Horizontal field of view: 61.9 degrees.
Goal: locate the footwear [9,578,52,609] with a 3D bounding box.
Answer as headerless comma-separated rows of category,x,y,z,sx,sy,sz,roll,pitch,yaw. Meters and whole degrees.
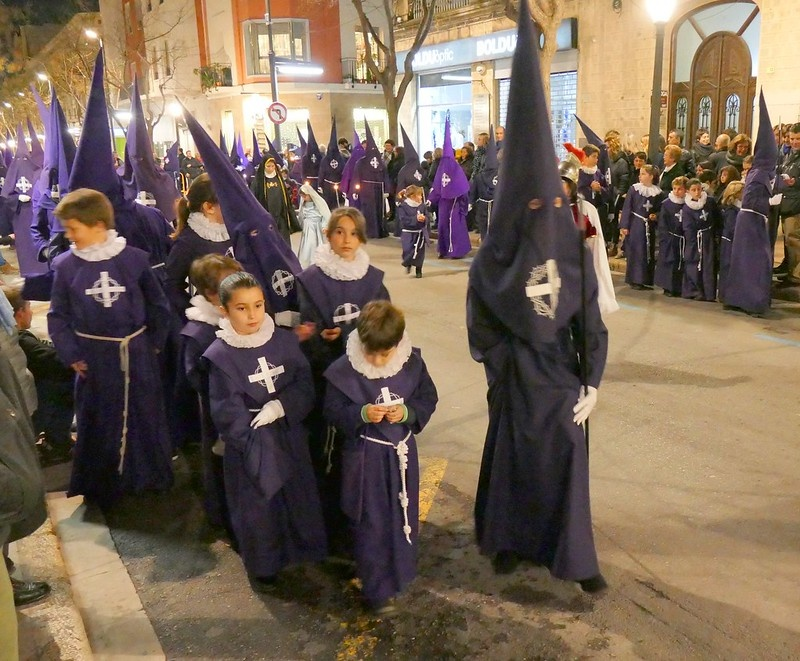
footwear,-2.090,1.453,3.800,0.181,0.090,0.242,-9,12,-34

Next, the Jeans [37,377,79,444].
Jeans,-2.845,0.676,5.579,0.495,0.517,0.130,-3,-3,-45

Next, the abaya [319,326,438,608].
abaya,-0.095,0.750,3.787,0.627,1.500,0.473,-4,10,-8

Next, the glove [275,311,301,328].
glove,-0.821,-0.086,4.837,0.143,0.096,0.145,-5,12,-24

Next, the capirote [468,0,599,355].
capirote,0.654,-0.768,3.434,0.613,1.689,0.365,-1,10,6

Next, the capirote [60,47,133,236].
capirote,-2.460,-1.614,5.454,0.412,1.247,0.446,-11,-15,13

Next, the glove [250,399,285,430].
glove,-0.752,0.493,3.833,0.109,0.195,0.064,40,-1,-28

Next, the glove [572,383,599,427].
glove,1.032,0.431,3.726,0.097,0.245,0.272,2,11,24

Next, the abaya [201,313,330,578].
abaya,-0.779,0.707,3.964,0.624,1.551,0.369,-6,11,-18

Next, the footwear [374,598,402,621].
footwear,-0.070,1.528,3.687,0.148,0.071,0.105,-6,11,-21

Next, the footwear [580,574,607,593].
footwear,1.086,1.425,3.745,0.109,0.085,0.110,-6,-4,6

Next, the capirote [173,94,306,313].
capirote,-1.086,-0.820,4.716,0.706,1.453,0.682,-4,10,-10

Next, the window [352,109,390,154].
window,-1.648,-11.442,38.441,2.475,2.595,0.276,-11,21,-35

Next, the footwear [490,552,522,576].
footwear,0.621,1.384,3.958,0.125,0.140,0.137,-13,14,10

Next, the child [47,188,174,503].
child,-2.044,0.144,4.781,0.797,2.239,0.339,-8,12,-29

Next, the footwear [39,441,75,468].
footwear,-2.901,1.038,5.643,0.285,0.131,0.226,3,4,31
